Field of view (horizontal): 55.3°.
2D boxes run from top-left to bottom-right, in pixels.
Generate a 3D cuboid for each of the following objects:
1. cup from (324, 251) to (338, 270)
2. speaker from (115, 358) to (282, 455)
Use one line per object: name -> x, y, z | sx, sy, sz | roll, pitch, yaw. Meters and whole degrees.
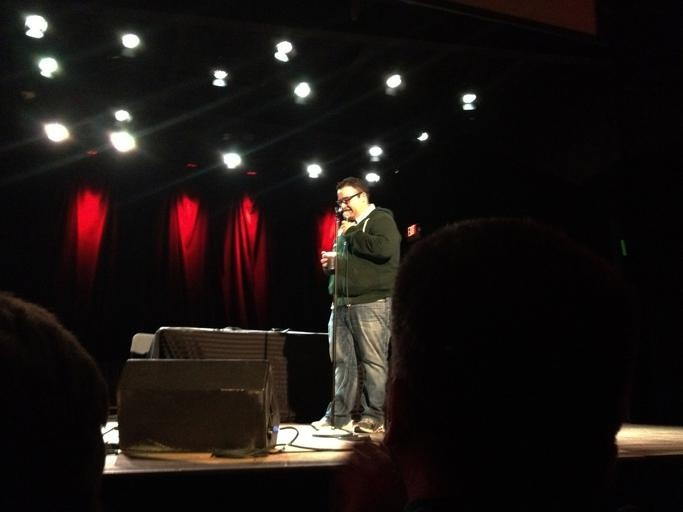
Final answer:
cup -> -0.072, 0.025, 4.042 | 0.055, 0.065, 0.111 | -4, -7, -7
speaker -> -0.652, 0.651, 2.820 | 0.554, 0.376, 0.412 | 0, -5, 2
